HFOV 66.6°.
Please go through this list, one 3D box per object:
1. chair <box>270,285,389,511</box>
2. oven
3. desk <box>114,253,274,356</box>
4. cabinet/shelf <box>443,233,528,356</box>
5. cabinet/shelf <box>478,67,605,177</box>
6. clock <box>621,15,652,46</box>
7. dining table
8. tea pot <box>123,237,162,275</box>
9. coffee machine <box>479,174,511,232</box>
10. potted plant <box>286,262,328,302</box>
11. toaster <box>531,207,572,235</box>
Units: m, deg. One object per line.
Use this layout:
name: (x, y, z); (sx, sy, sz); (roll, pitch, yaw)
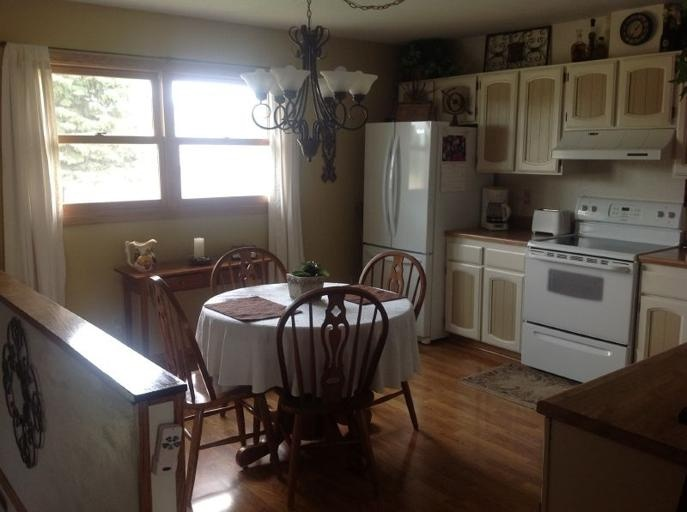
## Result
chair: (-0.065, 0.665, 2.866); (0.586, 1.158, 0.627); (-2, 12, -8)
oven: (1.714, 0.398, 4.230); (0.895, 0.870, 0.769); (9, -10, -3)
desk: (-1.038, 0.310, 3.505); (0.734, 0.488, 0.266); (-6, 9, -40)
cabinet/shelf: (1.269, 0.320, 4.572); (0.552, 1.202, 0.910); (-2, 5, -33)
cabinet/shelf: (1.702, -1.127, 4.395); (0.301, 0.819, 0.869); (-3, 9, -35)
clock: (2.251, -1.718, 3.999); (0.047, 0.240, 0.233); (-9, 15, -37)
dining table: (-0.316, 0.538, 3.104); (1.060, 0.835, 1.085); (-4, 13, -23)
tea pot: (-1.614, 0.015, 4.116); (0.249, 0.320, 0.223); (1, 3, 17)
coffee machine: (1.423, -0.437, 4.870); (0.263, 0.511, 0.394); (-1, 2, -16)
potted plant: (-0.222, 0.133, 3.129); (0.220, 0.324, 0.209); (1, 5, -7)
toaster: (1.828, -0.297, 4.600); (0.216, 0.245, 0.304); (-5, 8, -38)
